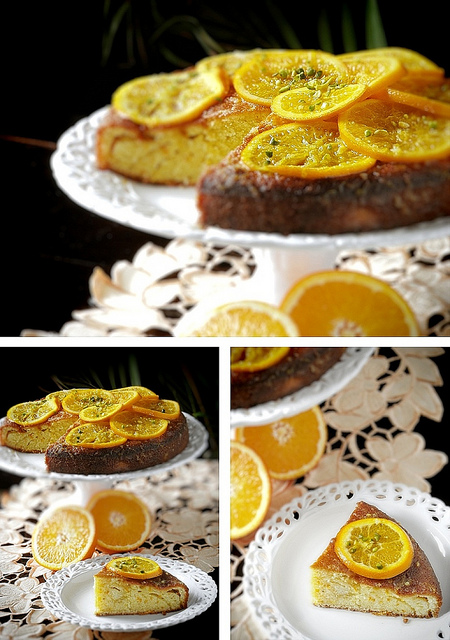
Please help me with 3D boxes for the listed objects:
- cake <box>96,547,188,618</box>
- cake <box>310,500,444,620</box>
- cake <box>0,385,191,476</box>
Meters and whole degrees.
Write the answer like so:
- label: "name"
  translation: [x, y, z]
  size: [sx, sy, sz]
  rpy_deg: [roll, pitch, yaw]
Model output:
- label: "cake"
  translation: [-0.156, 0.506, 1.161]
  size: [0.161, 0.071, 0.146]
  rpy_deg: [6, 7, 21]
- label: "cake"
  translation: [0.274, 0.455, 1.149]
  size: [0.203, 0.099, 0.197]
  rpy_deg: [25, 57, 24]
- label: "cake"
  translation: [-0.248, 0.187, 1.151]
  size: [0.288, 0.074, 0.186]
  rpy_deg: [-4, 23, -20]
